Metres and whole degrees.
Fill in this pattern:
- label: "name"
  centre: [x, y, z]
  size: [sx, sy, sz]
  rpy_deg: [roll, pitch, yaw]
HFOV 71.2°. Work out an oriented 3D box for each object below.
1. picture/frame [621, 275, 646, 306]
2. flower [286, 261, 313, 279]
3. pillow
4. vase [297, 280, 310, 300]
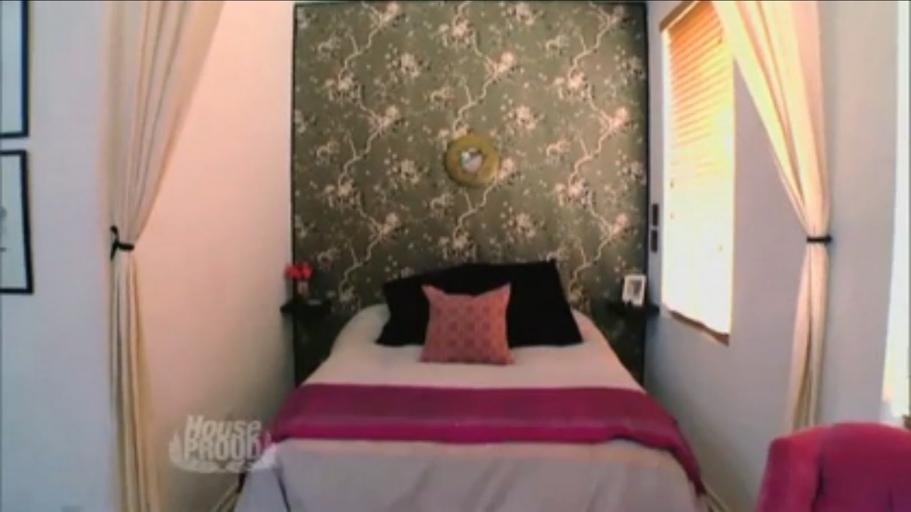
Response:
- label: "picture/frame"
  centre: [1.272, 0.239, 4.510]
  size: [0.172, 0.207, 0.072]
  rpy_deg: [3, -3, 24]
- label: "flower"
  centre: [-1.129, 0.096, 4.587]
  size: [0.146, 0.055, 0.140]
  rpy_deg: [0, 10, -9]
- label: "pillow"
  centre: [0.342, 0.585, 4.763]
  size: [1.129, 0.610, 0.343]
  rpy_deg: [-6, -33, -1]
- label: "vase"
  centre: [-1.102, 0.240, 4.618]
  size: [0.079, 0.126, 0.031]
  rpy_deg: [1, 5, 4]
